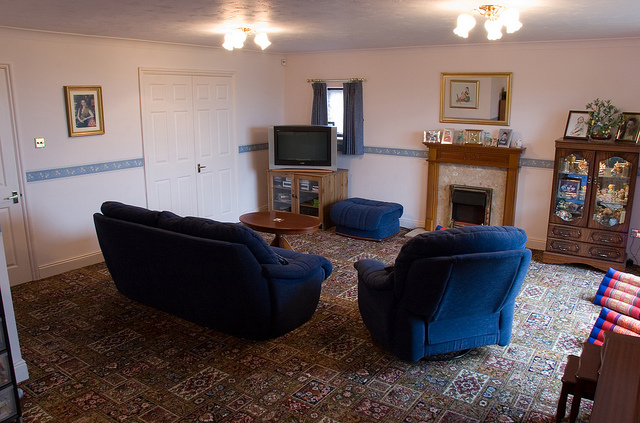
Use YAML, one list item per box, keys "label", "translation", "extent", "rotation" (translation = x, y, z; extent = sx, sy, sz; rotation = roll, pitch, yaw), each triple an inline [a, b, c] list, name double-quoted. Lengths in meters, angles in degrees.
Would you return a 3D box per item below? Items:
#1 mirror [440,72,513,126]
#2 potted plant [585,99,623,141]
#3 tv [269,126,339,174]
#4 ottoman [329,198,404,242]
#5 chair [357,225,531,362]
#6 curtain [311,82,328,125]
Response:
- label: "mirror"
  translation: [2.569, -1.858, 6.991]
  extent: [1.106, 0.842, 0.095]
  rotation: [6, 18, 26]
- label: "potted plant"
  translation: [4.048, -1.234, 6.071]
  extent: [0.494, 0.507, 0.515]
  rotation: [5, -2, -5]
- label: "tv"
  translation: [-0.126, -1.197, 8.177]
  extent: [1.546, 0.829, 0.780]
  rotation: [5, 12, 27]
- label: "ottoman"
  translation: [0.862, 0.117, 7.596]
  extent: [1.200, 0.524, 1.240]
  rotation: [-7, 14, -25]
- label: "chair"
  translation: [1.319, 0.792, 4.572]
  extent: [1.610, 1.253, 1.455]
  rotation: [-2, 4, -19]
- label: "curtain"
  translation: [-0.006, -2.092, 8.203]
  extent: [0.295, 0.795, 0.277]
  rotation: [2, 16, 12]
